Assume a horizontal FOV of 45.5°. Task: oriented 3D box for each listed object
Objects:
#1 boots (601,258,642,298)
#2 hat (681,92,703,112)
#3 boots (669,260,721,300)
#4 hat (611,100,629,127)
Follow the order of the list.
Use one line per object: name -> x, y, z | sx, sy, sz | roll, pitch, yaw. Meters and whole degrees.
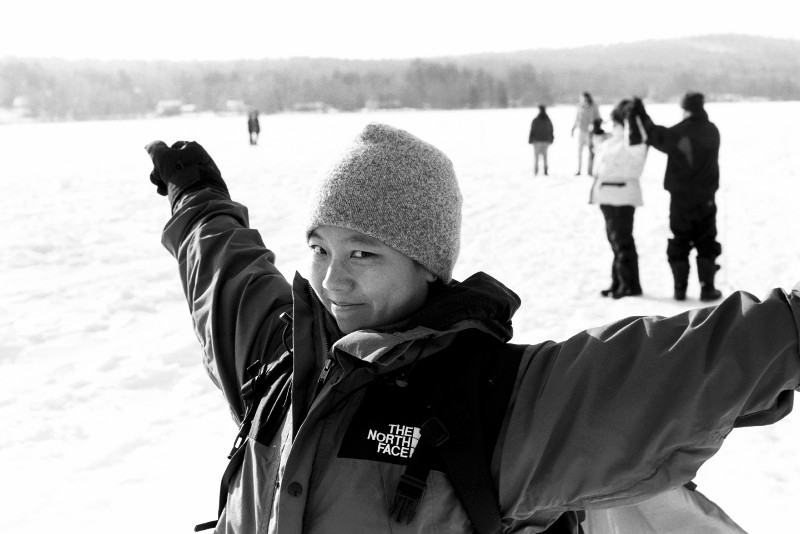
boots -> 3.127, 0.134, 13.246 | 0.479, 0.596, 0.456 | 0, 6, -14
hat -> 3.880, -2.160, 12.642 | 0.238, 0.267, 0.248 | -2, -1, 1
boots -> 4.043, 0.144, 12.971 | 0.624, 0.547, 0.534 | 5, 25, 24
hat -> 2.956, -2.055, 12.802 | 0.233, 0.347, 0.305 | 12, 6, -9
